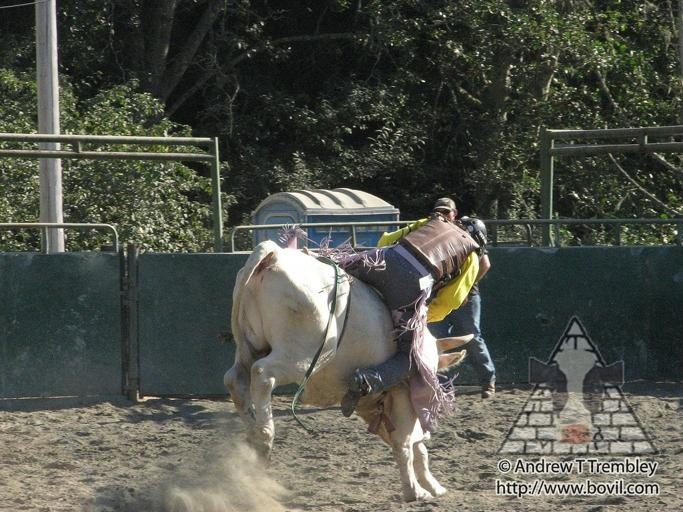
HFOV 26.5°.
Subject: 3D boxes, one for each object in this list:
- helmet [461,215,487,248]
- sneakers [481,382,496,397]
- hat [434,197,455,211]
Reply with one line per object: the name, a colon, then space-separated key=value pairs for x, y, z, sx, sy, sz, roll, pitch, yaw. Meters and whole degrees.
helmet: x=1.729 y=-0.311 z=18.267 sx=0.432 sy=0.343 sz=0.318 roll=2 pitch=4 yaw=-16
sneakers: x=2.078 y=1.875 z=20.521 sx=0.196 sy=0.178 sz=0.202 roll=-2 pitch=-2 yaw=44
hat: x=1.355 y=-0.666 z=18.851 sx=0.323 sy=0.156 sz=0.215 roll=-1 pitch=2 yaw=-21
